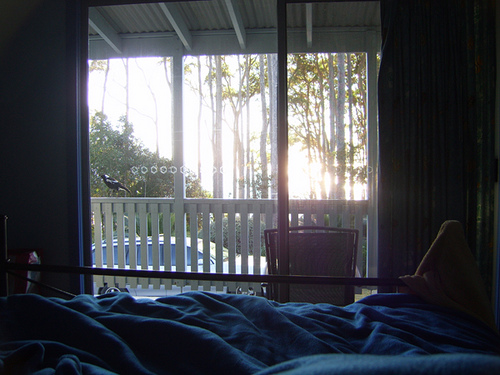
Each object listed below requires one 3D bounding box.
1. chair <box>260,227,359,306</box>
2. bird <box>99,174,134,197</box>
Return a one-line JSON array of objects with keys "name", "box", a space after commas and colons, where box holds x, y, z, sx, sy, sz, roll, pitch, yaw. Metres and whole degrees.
[{"name": "chair", "box": [0.473, 0.508, 4.124, 0.565, 0.908, 0.572, 0, 0, 7]}, {"name": "bird", "box": [-1.076, 0.002, 4.162, 0.276, 0.200, 0.097, 16, -15, -19]}]
